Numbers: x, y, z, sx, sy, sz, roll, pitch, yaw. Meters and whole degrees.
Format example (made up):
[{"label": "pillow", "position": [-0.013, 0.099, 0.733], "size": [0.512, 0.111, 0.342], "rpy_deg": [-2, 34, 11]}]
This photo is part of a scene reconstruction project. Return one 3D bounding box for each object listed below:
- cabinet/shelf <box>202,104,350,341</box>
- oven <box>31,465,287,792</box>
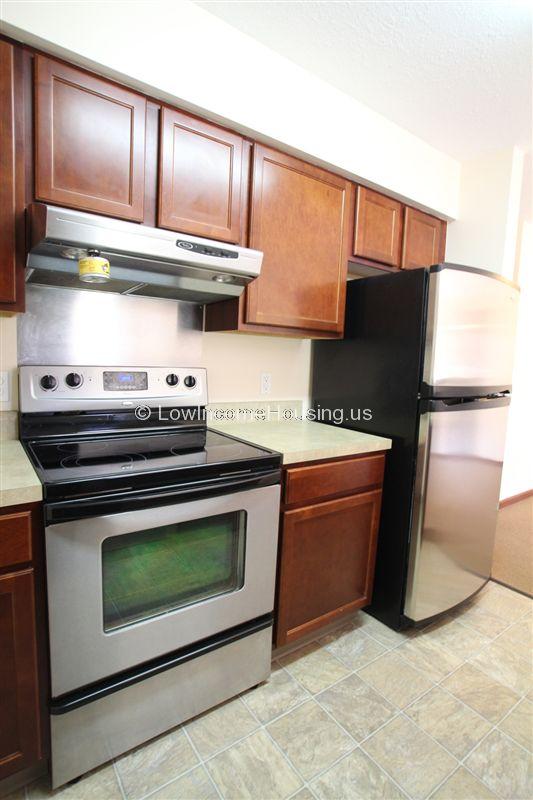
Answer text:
[{"label": "cabinet/shelf", "position": [0.058, -0.593, 2.237], "size": [0.554, 0.659, 0.231], "rpy_deg": [-3, 10, -42]}, {"label": "oven", "position": [-0.371, 0.569, 1.799], "size": [0.696, 0.807, 0.543], "rpy_deg": [-8, 16, -31]}]
